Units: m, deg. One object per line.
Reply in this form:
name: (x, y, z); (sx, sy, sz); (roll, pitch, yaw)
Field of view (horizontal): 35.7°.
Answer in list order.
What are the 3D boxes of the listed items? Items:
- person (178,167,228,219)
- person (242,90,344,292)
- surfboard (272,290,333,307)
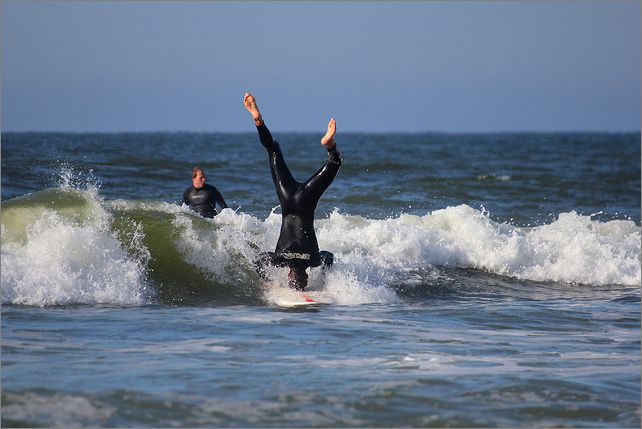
person: (-2.267, -0.407, 18.963); (0.638, 0.887, 1.112); (-5, 7, -38)
person: (-0.496, -0.147, 15.448); (1.562, 3.046, 0.989); (13, 37, 16)
surfboard: (-0.273, 1.304, 15.598); (0.929, 0.185, 0.600); (-1, 5, -4)
